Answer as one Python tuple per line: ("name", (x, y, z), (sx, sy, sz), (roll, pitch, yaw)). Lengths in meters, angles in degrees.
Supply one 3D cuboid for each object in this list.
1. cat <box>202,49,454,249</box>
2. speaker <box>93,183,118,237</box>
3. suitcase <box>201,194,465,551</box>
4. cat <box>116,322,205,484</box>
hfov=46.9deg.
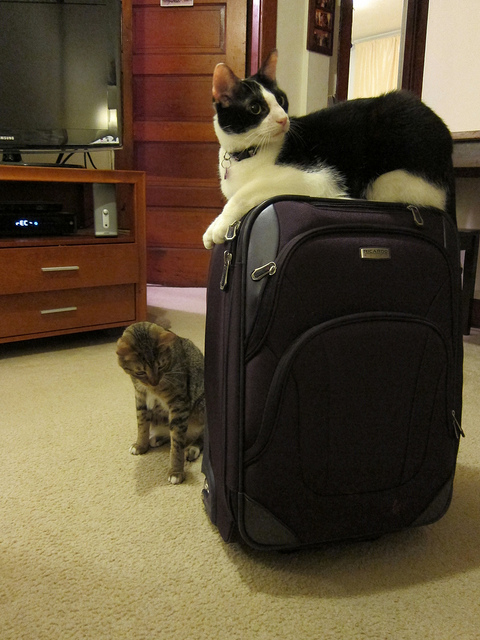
("cat", (0.169, -0.299, 0.893), (0.486, 0.280, 0.165), (-20, 32, -28))
("speaker", (-0.446, -0.361, 1.826), (0.071, 0.174, 0.035), (-4, 13, -19))
("suitcase", (0.144, 0.065, 0.813), (0.345, 0.478, 0.257), (-1, 6, -14))
("cat", (-0.139, 0.130, 1.051), (0.147, 0.277, 0.269), (9, 16, 15))
